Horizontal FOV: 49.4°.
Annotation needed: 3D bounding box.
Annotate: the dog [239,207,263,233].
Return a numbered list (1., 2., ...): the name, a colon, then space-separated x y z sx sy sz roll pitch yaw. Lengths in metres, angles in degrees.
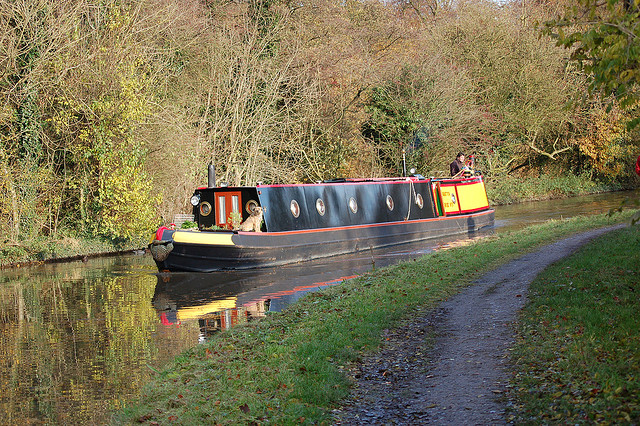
1. dog: -2.543 0.266 25.814 0.831 0.927 0.512 -6 4 -8
